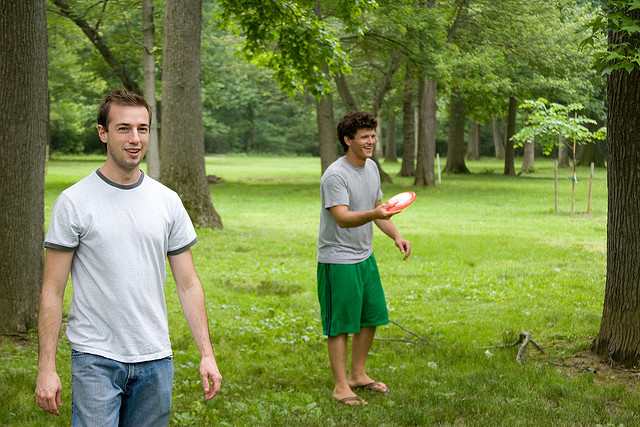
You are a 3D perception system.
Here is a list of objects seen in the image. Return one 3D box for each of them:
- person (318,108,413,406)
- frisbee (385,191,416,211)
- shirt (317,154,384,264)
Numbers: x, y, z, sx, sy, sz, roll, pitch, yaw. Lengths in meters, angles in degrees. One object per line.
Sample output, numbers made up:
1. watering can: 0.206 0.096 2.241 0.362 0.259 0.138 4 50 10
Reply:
1. person: 0.487 0.578 11.864 0.943 3.973 0.708 0 5 -10
2. frisbee: 1.078 -0.165 11.700 0.383 0.239 0.617 1 4 4
3. shirt: 0.414 -0.072 11.914 0.868 1.467 0.499 0 5 -9
